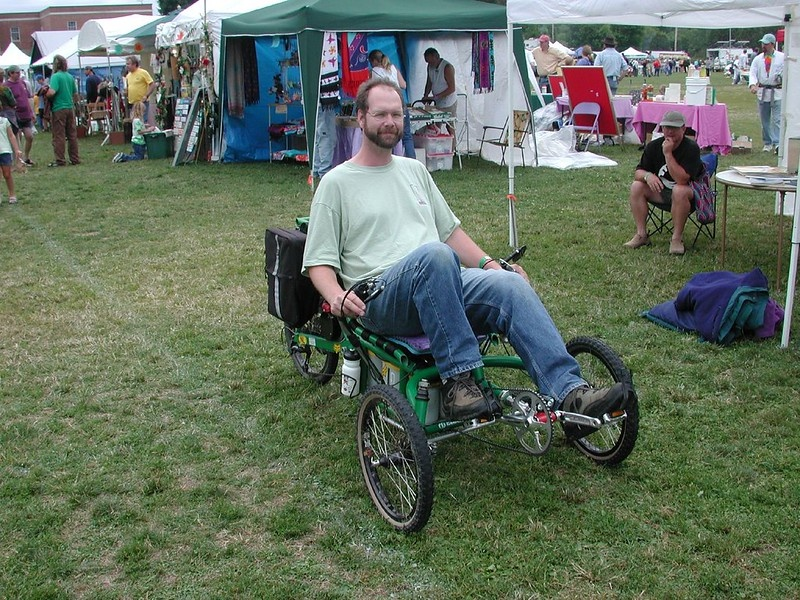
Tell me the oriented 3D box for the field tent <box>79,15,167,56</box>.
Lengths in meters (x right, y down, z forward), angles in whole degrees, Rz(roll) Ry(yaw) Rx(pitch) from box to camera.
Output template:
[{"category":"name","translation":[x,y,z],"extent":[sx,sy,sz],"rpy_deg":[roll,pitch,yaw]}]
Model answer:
[{"category":"field tent","translation":[-7.494,-7.027,19.359],"extent":[1.704,0.633,1.914],"rpy_deg":[4,42,26]}]

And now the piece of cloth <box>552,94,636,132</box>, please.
[{"category":"piece of cloth","translation":[4.051,-3.697,14.454],"extent":[0.955,0.531,0.984],"rpy_deg":[-15,26,-29]}]

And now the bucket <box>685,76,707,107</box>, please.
[{"category":"bucket","translation":[4.911,-3.474,11.993],"extent":[0.396,0.467,0.434],"rpy_deg":[-2,14,0]}]

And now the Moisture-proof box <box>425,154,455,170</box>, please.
[{"category":"Moisture-proof box","translation":[0.718,-2.374,12.512],"extent":[0.557,0.265,0.389],"rpy_deg":[-11,24,-23]}]

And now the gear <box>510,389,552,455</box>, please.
[{"category":"gear","translation":[0.673,0.617,3.712],"extent":[0.092,0.369,0.332],"rpy_deg":[-9,14,-31]}]

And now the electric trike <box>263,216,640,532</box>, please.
[{"category":"electric trike","translation":[0.105,0.284,4.173],"extent":[2.432,1.391,1.264],"rpy_deg":[11,18,42]}]

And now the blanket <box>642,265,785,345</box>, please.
[{"category":"blanket","translation":[2.404,0.046,5.499],"extent":[0.646,0.301,0.678],"rpy_deg":[-21,22,-30]}]

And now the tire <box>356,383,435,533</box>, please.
[{"category":"tire","translation":[-0.053,0.824,3.775],"extent":[0.223,0.797,0.721],"rpy_deg":[-10,21,-30]}]

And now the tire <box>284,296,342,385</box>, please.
[{"category":"tire","translation":[-0.633,0.285,4.987],"extent":[0.421,0.561,0.266],"rpy_deg":[23,-39,-28]}]
